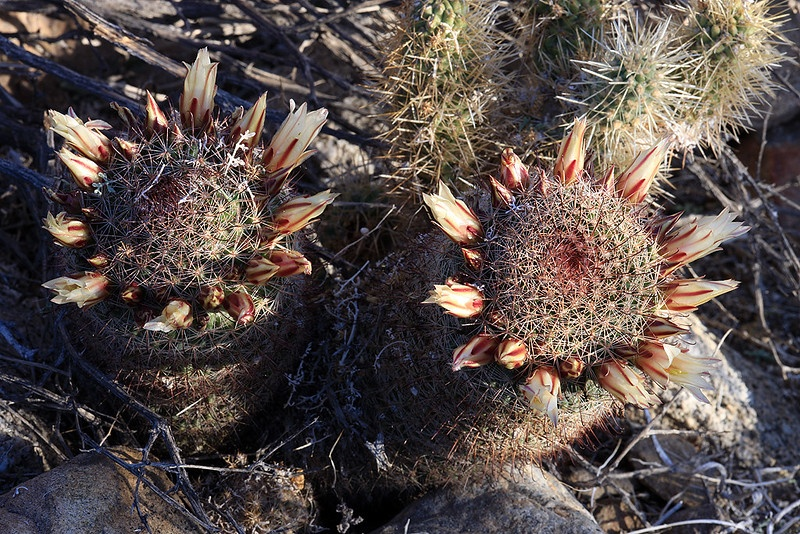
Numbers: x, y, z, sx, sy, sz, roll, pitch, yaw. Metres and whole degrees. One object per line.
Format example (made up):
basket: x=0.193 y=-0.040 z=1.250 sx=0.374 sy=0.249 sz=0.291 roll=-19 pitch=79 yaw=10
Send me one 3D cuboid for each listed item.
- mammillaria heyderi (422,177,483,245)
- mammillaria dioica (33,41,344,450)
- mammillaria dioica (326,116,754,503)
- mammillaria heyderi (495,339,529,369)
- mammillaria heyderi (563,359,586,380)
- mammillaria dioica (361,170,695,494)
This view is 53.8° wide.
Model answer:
mammillaria heyderi: x=0.228 y=-0.197 z=3.179 sx=0.301 sy=0.160 sz=0.128 roll=50 pitch=8 yaw=2
mammillaria dioica: x=-0.805 y=0.070 z=3.657 sx=1.601 sy=1.086 sz=1.329 roll=22 pitch=54 yaw=-48
mammillaria dioica: x=0.497 y=0.262 z=3.931 sx=1.328 sy=2.168 sz=1.268 roll=12 pitch=75 yaw=-3
mammillaria heyderi: x=0.438 y=0.339 z=3.047 sx=0.115 sy=0.099 sz=0.101 roll=8 pitch=86 yaw=-57
mammillaria heyderi: x=0.685 y=0.407 z=3.083 sx=0.069 sy=0.083 sz=0.050 roll=1 pitch=85 yaw=-17
mammillaria dioica: x=0.628 y=0.318 z=3.517 sx=1.270 sy=0.858 sz=1.171 roll=21 pitch=44 yaw=-34
